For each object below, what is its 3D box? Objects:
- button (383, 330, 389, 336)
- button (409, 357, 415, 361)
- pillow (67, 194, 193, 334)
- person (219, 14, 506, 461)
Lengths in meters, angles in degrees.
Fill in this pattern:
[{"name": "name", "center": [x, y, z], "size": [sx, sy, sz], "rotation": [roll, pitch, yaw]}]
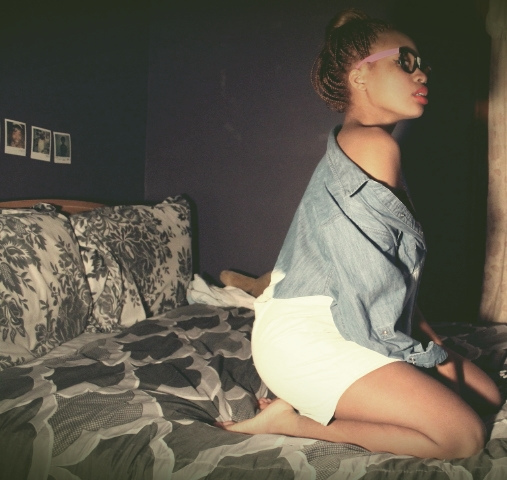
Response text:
[{"name": "button", "center": [0.370, 0.260, 1.388], "size": [0.014, 0.014, 0.005], "rotation": [3, 12, 7]}, {"name": "button", "center": [0.448, 0.336, 1.394], "size": [0.012, 0.008, 0.003], "rotation": [-1, 7, -2]}, {"name": "pillow", "center": [-0.587, 0.137, 2.363], "size": [0.166, 0.462, 0.699], "rotation": [-11, 0, 28]}, {"name": "person", "center": [0.432, -0.071, 1.689], "size": [0.816, 1.325, 0.961], "rotation": [7, 13, 23]}]
